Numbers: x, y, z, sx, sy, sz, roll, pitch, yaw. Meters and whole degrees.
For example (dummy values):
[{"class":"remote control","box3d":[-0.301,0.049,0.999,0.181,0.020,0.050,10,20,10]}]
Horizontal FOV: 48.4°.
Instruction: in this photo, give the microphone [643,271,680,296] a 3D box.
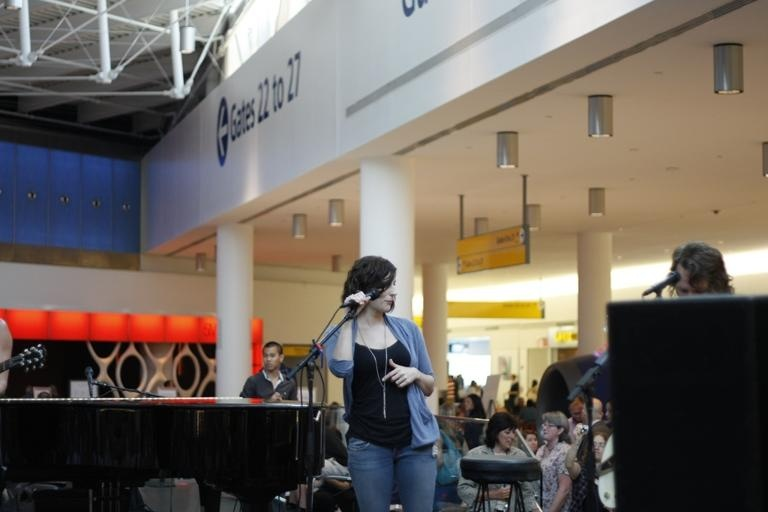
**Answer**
[{"class":"microphone","box3d":[2.220,0.217,6.873,0.295,0.103,0.080,-36,17,-15]}]
